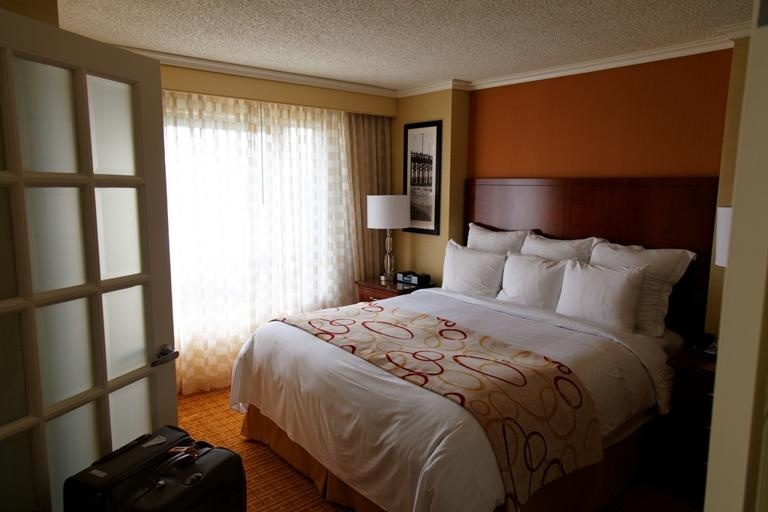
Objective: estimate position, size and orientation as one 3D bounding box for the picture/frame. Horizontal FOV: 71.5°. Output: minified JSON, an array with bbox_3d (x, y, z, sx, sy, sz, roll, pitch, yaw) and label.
[{"bbox_3d":[0.418,-0.854,5.768,0.176,1.193,0.636,-10,17,-34],"label":"picture/frame"}]

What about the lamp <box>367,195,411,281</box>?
[{"bbox_3d":[0.066,-0.213,5.799,0.454,0.931,0.575,0,14,3],"label":"lamp"}]
